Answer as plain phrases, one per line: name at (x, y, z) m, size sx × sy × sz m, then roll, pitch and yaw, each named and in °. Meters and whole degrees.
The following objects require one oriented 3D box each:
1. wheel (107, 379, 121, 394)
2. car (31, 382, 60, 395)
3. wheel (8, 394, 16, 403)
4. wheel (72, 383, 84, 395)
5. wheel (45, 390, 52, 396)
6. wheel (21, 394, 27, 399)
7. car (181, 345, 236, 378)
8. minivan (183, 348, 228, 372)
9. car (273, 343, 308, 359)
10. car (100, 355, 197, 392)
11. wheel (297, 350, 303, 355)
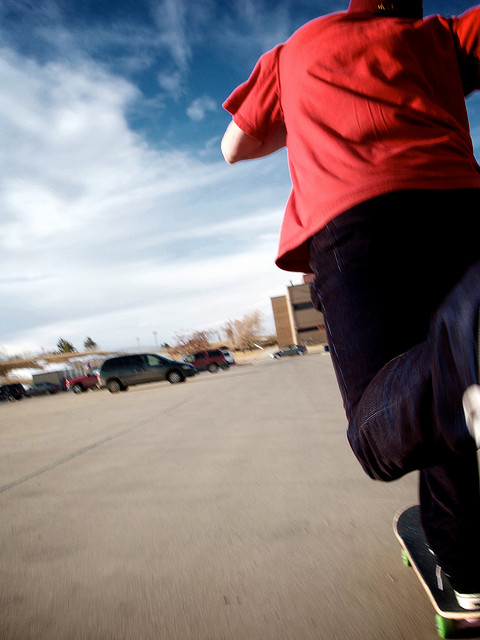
wheel at (-5.084, 2.642, 15.620) m, size 0.620 × 0.487 × 0.303 m, roll -9°, pitch -5°, yaw 27°
car at (-17.798, 6.493, 35.241) m, size 2.083 × 1.181 × 1.325 m, roll 6°, pitch -3°, yaw 1°
wheel at (-18.340, 6.275, 31.403) m, size 0.541 × 0.482 × 1.644 m, roll -4°, pitch -6°, yaw -31°
wheel at (-9.370, 3.955, 22.619) m, size 0.593 × 0.563 × 0.693 m, roll -6°, pitch -4°, yaw -13°
wheel at (-16.642, 6.399, 33.892) m, size 0.297 × 0.232 × 0.899 m, roll -37°, pitch 22°, yaw -15°
wheel at (-18.639, 6.641, 33.669) m, size 0.319 × 0.413 × 0.433 m, roll -1°, pitch -24°, yaw -7°
car at (-1.889, 2.660, 25.544) m, size 2.616 × 1.372 × 1.585 m, roll 1°, pitch -8°, yaw -4°
minivan at (-2.203, 2.679, 25.340) m, size 2.257 × 1.185 × 1.370 m, roll 5°, pitch -9°, yaw 1°
car at (4.374, 2.679, 33.004) m, size 2.519 × 0.964 × 1.428 m, roll -2°, pitch -4°, yaw 9°
car at (-3.921, 2.100, 15.985) m, size 2.873 × 1.160 × 1.580 m, roll -7°, pitch -5°, yaw 2°
wheel at (5.100, 2.722, 32.255) m, size 0.300 × 0.308 × 0.077 m, roll -10°, pitch -42°, yaw 15°
